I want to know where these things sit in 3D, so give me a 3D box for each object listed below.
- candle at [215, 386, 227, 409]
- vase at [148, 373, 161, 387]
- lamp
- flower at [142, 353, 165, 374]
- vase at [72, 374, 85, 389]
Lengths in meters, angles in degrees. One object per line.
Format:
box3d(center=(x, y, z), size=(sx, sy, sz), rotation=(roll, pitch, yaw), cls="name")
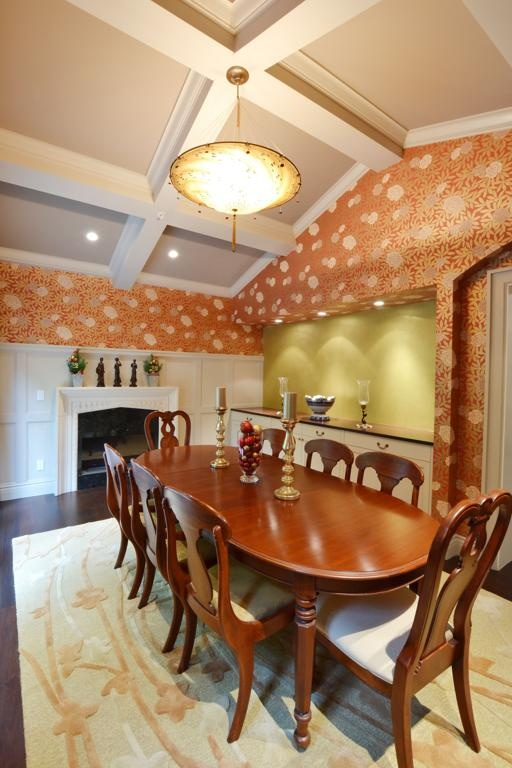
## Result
box3d(center=(-0.198, 0.085, 2.831), size=(0.058, 0.128, 0.222), rotation=(0, 8, -8), cls="candle")
box3d(center=(-1.056, -0.016, 5.184), size=(0.127, 0.132, 0.110), rotation=(7, -15, -39), cls="vase")
box3d(center=(-0.095, -0.909, 2.454), size=(0.639, 0.348, 0.591), rotation=(-1, 8, -10), cls="lamp")
box3d(center=(-1.057, -0.183, 5.126), size=(0.183, 0.191, 0.101), rotation=(2, -4, -41), cls="flower")
box3d(center=(-1.635, -0.007, 4.634), size=(0.122, 0.130, 0.113), rotation=(-3, 8, -41), cls="vase")
